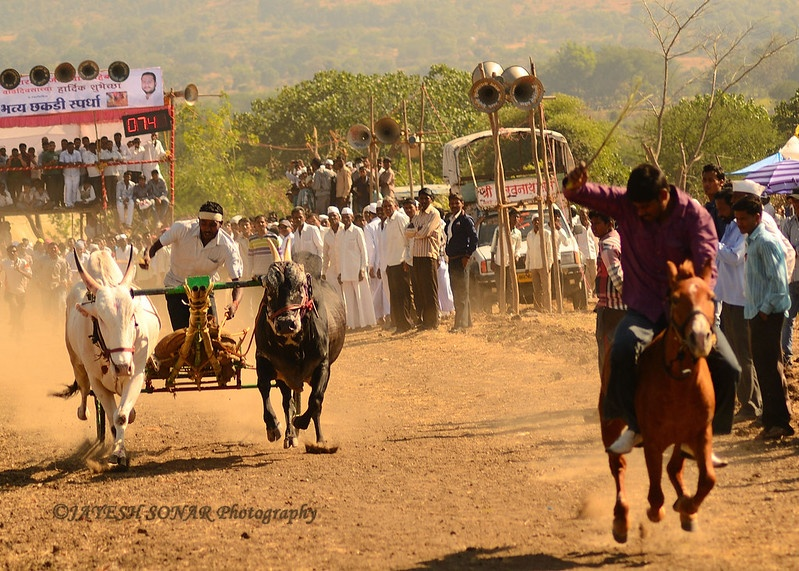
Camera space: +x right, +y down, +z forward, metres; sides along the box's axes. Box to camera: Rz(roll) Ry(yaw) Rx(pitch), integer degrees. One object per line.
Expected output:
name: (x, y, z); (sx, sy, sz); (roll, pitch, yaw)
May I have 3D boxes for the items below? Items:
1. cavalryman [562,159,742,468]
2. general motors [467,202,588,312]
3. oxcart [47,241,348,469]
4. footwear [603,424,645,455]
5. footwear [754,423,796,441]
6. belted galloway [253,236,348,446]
cavalryman: (2.466, 0.183, 10.783); (1.503, 3.091, 2.237); (4, 11, 6)
general motors: (3.017, -0.728, 25.288); (2.534, 2.386, 4.667); (-5, 5, 9)
oxcart: (-3.715, 0.805, 13.463); (0.851, 1.976, 3.695); (-4, -5, -18)
footwear: (2.177, 1.488, 10.315); (0.163, 0.253, 0.553); (17, 4, 31)
footwear: (4.441, 1.721, 12.548); (0.315, 0.134, 0.206); (1, -1, 8)
belted galloway: (-1.207, 0.755, 12.696); (0.989, 2.530, 1.592); (0, 8, -6)
